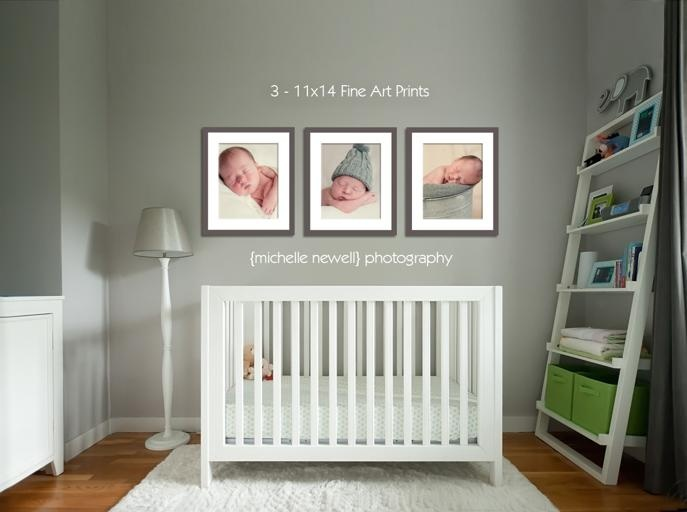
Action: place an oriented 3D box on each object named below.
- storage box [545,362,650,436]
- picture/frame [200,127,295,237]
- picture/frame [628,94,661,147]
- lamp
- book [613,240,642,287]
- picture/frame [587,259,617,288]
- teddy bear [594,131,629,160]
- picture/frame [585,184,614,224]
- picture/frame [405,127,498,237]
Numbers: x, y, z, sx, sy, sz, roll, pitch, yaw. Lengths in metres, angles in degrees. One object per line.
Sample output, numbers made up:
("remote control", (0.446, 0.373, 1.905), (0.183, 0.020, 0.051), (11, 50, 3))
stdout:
("storage box", (1.554, 0.881, 3.514), (0.296, 0.283, 0.508), (7, -9, -9))
("picture/frame", (-0.673, -0.500, 3.956), (0.657, 0.898, 0.057), (0, -3, -1))
("picture/frame", (1.820, -0.806, 3.455), (0.026, 0.378, 0.268), (15, -26, -8))
("lamp", (-1.199, 0.458, 3.802), (0.358, 1.555, 0.373), (0, 2, -6))
("book", (1.717, 0.054, 3.460), (0.135, 0.241, 0.234), (3, -7, 41))
("picture/frame", (1.642, 0.116, 3.637), (0.082, 0.171, 0.202), (0, 2, -16))
("teddy bear", (1.725, -0.711, 3.694), (0.126, 0.181, 0.066), (8, 4, 44))
("picture/frame", (1.679, -0.330, 3.757), (0.023, 0.310, 0.223), (20, -20, -15))
("picture/frame", (0.730, -0.482, 3.958), (0.655, 0.861, 0.032), (0, -2, -1))
